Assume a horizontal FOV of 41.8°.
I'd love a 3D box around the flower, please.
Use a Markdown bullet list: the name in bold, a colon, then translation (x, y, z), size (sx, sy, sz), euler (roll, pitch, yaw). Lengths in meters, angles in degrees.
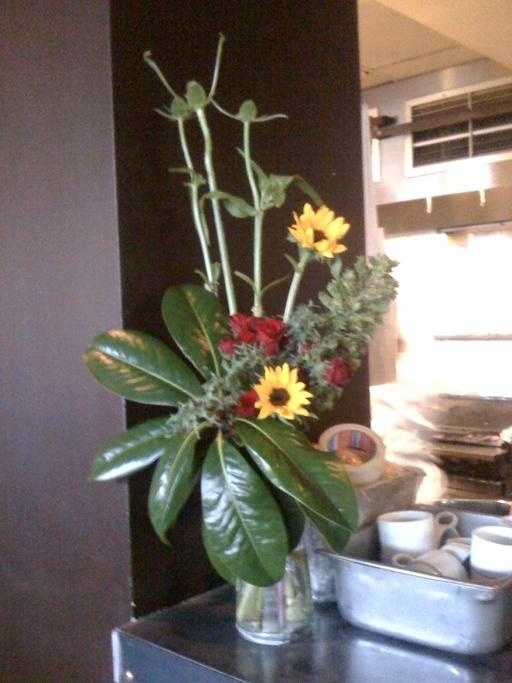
- **flower**: translation (-0.058, -0.101, 0.978), size (0.395, 0.743, 0.492), euler (-4, -1, -15)
